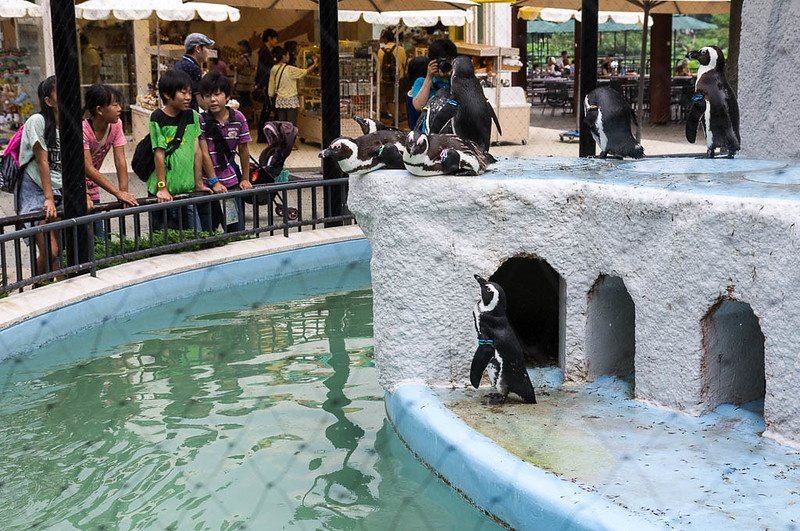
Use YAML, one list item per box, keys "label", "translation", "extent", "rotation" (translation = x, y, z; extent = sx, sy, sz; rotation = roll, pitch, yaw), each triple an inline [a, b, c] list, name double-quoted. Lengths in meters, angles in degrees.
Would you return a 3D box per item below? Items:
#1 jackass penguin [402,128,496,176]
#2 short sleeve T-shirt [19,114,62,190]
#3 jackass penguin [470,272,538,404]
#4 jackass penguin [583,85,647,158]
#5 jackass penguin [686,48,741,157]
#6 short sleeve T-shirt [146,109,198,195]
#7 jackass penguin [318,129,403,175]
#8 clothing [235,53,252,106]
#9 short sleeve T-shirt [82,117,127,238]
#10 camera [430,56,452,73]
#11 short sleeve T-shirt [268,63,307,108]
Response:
- label: "jackass penguin"
  translation: [0.414, -0.873, 6.297]
  extent: [0.921, 0.359, 0.516]
  rotation: [-19, 18, -42]
- label: "short sleeve T-shirt"
  translation: [-3.681, -1.171, 8.339]
  extent: [0.394, 0.712, 0.635]
  rotation: [-5, 14, -18]
- label: "jackass penguin"
  translation: [0.739, 0.542, 5.862]
  extent: [0.464, 0.953, 0.181]
  rotation: [-1, 8, 7]
- label: "jackass penguin"
  translation: [1.872, -1.262, 7.111]
  extent: [0.487, 0.615, 0.761]
  rotation: [-6, 13, -26]
- label: "jackass penguin"
  translation: [2.715, -1.423, 7.051]
  extent: [0.429, 0.985, 0.655]
  rotation: [0, 8, 20]
- label: "short sleeve T-shirt"
  translation: [-2.585, -1.287, 9.283]
  extent: [0.663, 0.971, 0.400]
  rotation: [-3, 8, -5]
- label: "jackass penguin"
  translation: [-0.235, -0.861, 6.222]
  extent: [0.525, 0.182, 0.329]
  rotation: [-24, 17, -27]
- label: "clothing"
  translation: [-3.709, -4.388, 19.054]
  extent: [0.485, 1.406, 0.531]
  rotation: [3, 21, -6]
- label: "short sleeve T-shirt"
  translation: [-3.254, -0.972, 9.075]
  extent: [0.423, 1.271, 1.166]
  rotation: [-5, 8, -18]
- label: "camera"
  translation: [0.432, -1.942, 7.944]
  extent: [0.201, 0.121, 0.144]
  rotation: [-4, 22, -16]
- label: "short sleeve T-shirt"
  translation: [-2.241, -3.632, 16.363]
  extent: [0.883, 0.819, 0.419]
  rotation: [3, 13, 22]
